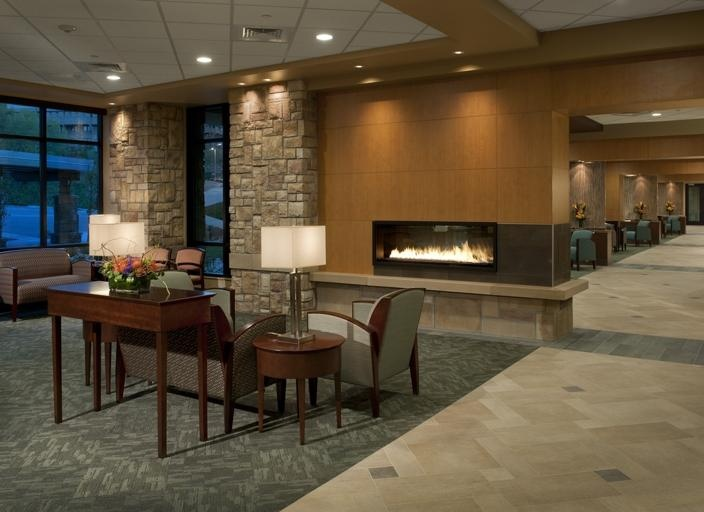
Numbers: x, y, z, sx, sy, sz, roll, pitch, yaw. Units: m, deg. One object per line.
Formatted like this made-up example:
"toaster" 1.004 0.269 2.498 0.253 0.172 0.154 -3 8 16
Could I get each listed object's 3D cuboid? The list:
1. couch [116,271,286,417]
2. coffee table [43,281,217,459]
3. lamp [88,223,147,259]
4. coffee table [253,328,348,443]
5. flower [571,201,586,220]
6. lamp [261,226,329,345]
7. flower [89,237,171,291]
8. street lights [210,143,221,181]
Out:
"couch" -1.540 1.009 4.921 1.758 0.980 0.981 -2 -7 37
"coffee table" -1.979 1.076 4.456 1.635 1.174 0.654 1 2 32
"lamp" -3.000 -0.201 6.177 0.478 0.502 0.903 -1 0 39
"coffee table" -0.472 1.127 4.550 0.948 0.784 0.940 -2 -2 39
"flower" 8.491 -1.690 18.360 0.508 0.656 0.734 3 8 24
"lamp" -0.468 0.226 4.580 0.521 1.035 0.730 4 9 32
"flower" -2.630 0.095 5.792 0.972 0.553 0.752 4 5 21
"street lights" -2.988 -2.070 10.748 0.368 0.829 0.078 5 10 34
